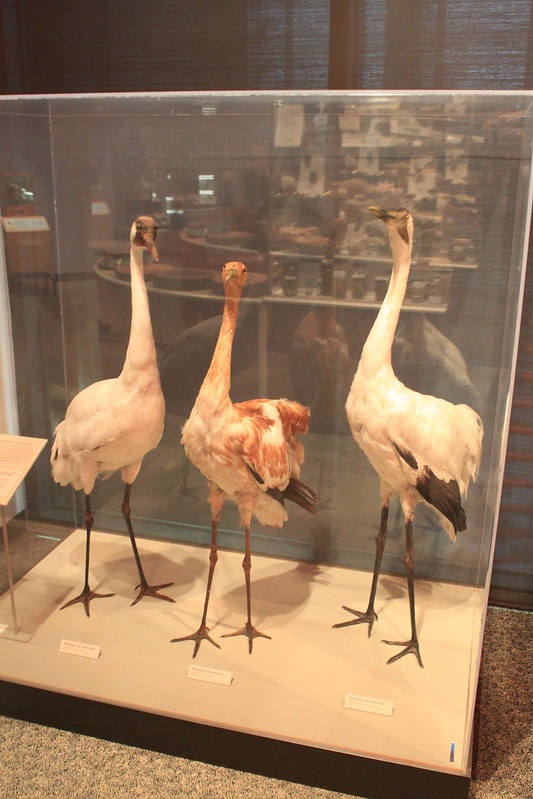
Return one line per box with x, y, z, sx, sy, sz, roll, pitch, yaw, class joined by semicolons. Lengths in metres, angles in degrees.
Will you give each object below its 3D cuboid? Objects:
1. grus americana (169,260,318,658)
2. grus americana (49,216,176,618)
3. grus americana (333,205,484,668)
-0.035;0.138;2.040;0.324;1.051;0.476;14;27;27;grus americana
-0.482;0.070;2.097;0.361;1.192;0.329;-4;24;-13;grus americana
0.389;0.110;1.902;0.364;1.197;0.401;12;26;23;grus americana
